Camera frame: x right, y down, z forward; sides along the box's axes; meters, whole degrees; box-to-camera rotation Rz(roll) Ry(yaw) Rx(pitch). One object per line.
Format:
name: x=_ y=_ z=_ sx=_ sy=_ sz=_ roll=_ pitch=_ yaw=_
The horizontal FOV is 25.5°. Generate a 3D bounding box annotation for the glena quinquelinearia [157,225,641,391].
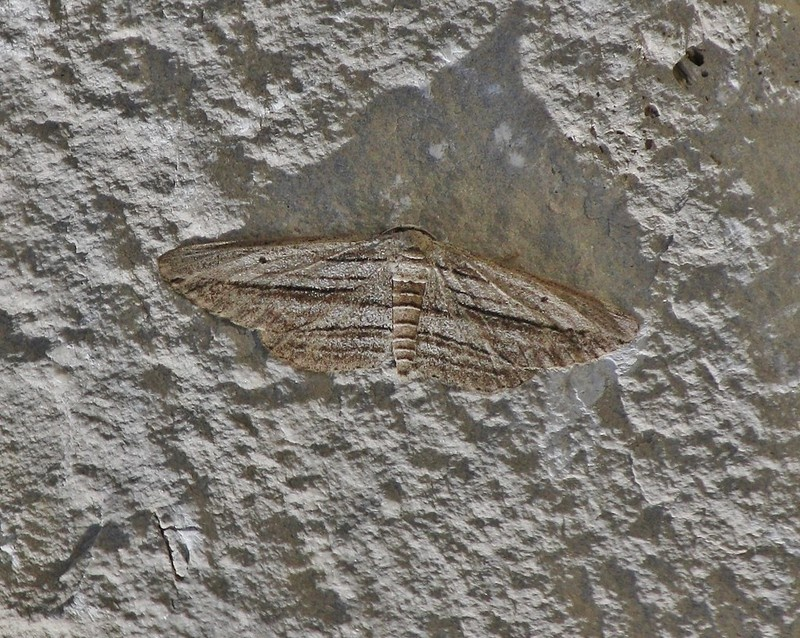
glena quinquelinearia: x=0.029 y=-0.126 z=12.152 sx=2.643 sy=0.287 sz=1.017 roll=9 pitch=93 yaw=0
